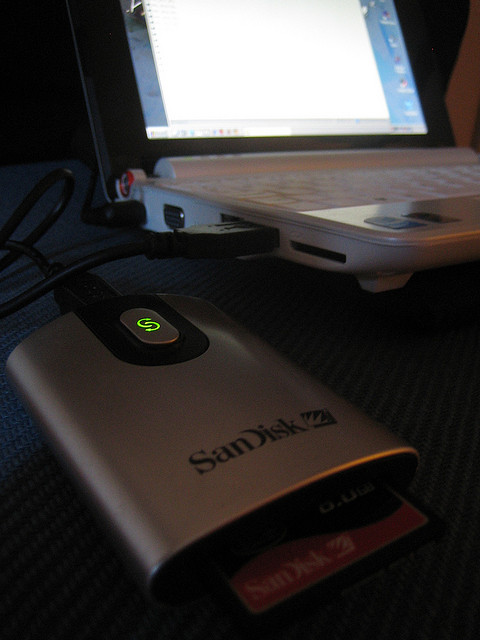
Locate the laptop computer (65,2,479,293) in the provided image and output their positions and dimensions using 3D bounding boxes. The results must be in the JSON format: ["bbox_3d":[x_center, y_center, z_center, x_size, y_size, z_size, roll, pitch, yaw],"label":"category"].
[{"bbox_3d":[0.024,-0.202,0.553,0.404,0.257,0.297,-7,36,-30],"label":"laptop computer"}]

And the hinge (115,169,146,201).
[{"bbox_3d":[-0.126,-0.157,0.565,0.036,0.031,0.029,-15,30,-9],"label":"hinge"}]
